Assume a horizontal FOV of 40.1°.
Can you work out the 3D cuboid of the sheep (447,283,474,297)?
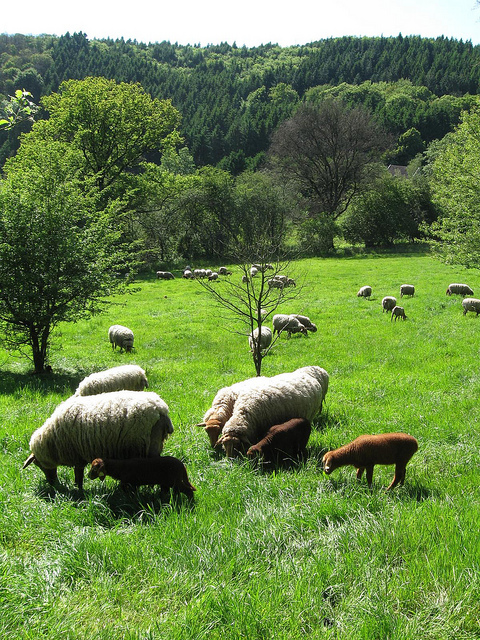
[{"bbox_3d":[8.852,-1.167,26.090,1.107,0.719,0.356,8,3,9],"label":"sheep"}]

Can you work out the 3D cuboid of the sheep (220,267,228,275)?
[{"bbox_3d":[-0.998,-2.968,39.872,0.318,0.502,0.466,-1,8,-3],"label":"sheep"}]

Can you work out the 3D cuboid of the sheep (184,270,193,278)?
[{"bbox_3d":[-3.201,-2.831,40.637,0.432,0.472,0.577,-3,4,-30],"label":"sheep"}]

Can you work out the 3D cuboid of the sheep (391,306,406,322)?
[{"bbox_3d":[5.179,-0.195,21.496,0.463,0.417,0.642,-1,4,14],"label":"sheep"}]

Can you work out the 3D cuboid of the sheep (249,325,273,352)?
[{"bbox_3d":[0.549,0.480,16.913,0.330,0.601,0.827,0,-2,5],"label":"sheep"}]

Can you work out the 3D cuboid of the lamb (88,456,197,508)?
[{"bbox_3d":[-0.948,1.631,6.704,1.110,0.440,0.384,-1,3,11],"label":"lamb"}]

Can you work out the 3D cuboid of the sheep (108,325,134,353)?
[{"bbox_3d":[-3.184,0.497,18.085,0.354,0.730,1.149,-2,9,-31],"label":"sheep"}]

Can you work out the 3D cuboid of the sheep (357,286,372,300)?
[{"bbox_3d":[5.243,-1.133,27.519,0.423,0.504,0.769,-2,3,-6],"label":"sheep"}]

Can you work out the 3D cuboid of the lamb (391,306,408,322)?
[{"bbox_3d":[5.231,-0.167,21.664,0.452,0.911,1.557,0,0,14],"label":"lamb"}]

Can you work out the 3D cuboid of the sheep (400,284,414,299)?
[{"bbox_3d":[6.878,-1.159,27.112,0.561,0.523,0.817,-1,4,14],"label":"sheep"}]

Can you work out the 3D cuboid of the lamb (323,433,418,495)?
[{"bbox_3d":[1.352,1.409,7.056,0.827,0.666,0.801,-8,12,-33],"label":"lamb"}]

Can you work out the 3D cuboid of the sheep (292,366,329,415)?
[{"bbox_3d":[1.054,0.891,9.525,0.273,0.598,0.947,-4,0,34],"label":"sheep"}]

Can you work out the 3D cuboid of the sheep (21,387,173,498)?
[{"bbox_3d":[-1.595,1.424,7.805,1.749,1.416,0.881,-16,-15,5],"label":"sheep"}]

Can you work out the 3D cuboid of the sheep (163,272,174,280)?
[{"bbox_3d":[-4.518,-2.740,41.034,0.578,0.399,0.470,-1,3,13],"label":"sheep"}]

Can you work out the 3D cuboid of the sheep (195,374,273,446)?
[{"bbox_3d":[-0.035,1.178,9.173,0.437,0.948,1.727,-2,11,16],"label":"sheep"}]

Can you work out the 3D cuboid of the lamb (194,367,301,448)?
[{"bbox_3d":[-0.041,1.355,8.843,1.172,0.983,1.067,-5,14,-34],"label":"lamb"}]

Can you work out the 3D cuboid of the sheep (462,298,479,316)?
[{"bbox_3d":[7.705,-0.426,21.900,0.342,0.525,0.653,-4,4,-40],"label":"sheep"}]

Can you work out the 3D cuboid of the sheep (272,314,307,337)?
[{"bbox_3d":[1.603,0.200,19.658,1.286,0.821,0.469,4,6,8],"label":"sheep"}]
